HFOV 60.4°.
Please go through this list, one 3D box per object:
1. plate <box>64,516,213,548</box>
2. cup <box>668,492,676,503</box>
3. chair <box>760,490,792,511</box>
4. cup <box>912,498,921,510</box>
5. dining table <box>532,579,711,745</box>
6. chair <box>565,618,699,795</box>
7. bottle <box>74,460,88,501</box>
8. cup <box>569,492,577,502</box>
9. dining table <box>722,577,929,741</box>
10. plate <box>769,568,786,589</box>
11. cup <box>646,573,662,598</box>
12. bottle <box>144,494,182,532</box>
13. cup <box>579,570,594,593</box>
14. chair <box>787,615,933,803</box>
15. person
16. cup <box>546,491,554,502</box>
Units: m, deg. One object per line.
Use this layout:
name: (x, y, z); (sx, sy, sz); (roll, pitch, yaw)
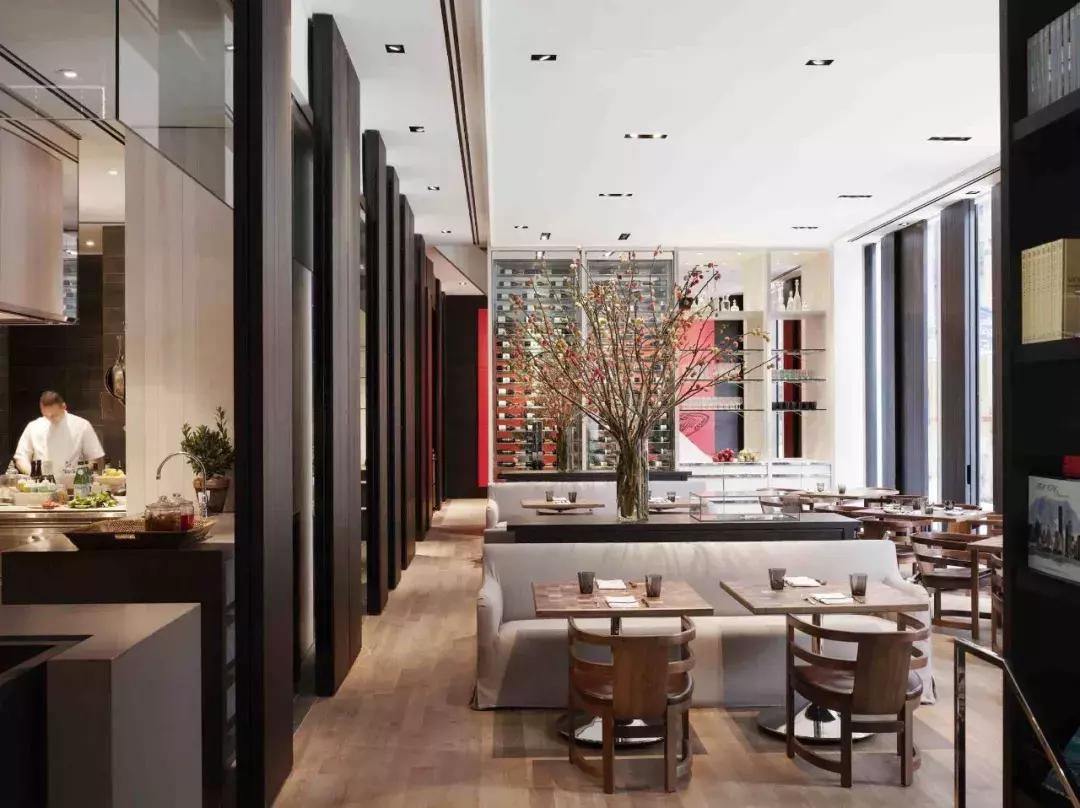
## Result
plate: (-1.909, 0.615, 4.405); (0.609, 0.102, 0.333); (0, 3, 4)
cup: (1.186, 0.846, 8.349); (0.050, 0.101, 0.052); (1, 7, 0)
chair: (2.313, 0.941, 9.095); (0.345, 0.239, 0.329); (0, 0, -4)
cup: (3.427, 0.903, 8.435); (0.092, 0.095, 0.080); (-1, 3, -27)
dining table: (0.451, 1.344, 5.128); (0.734, 0.489, 0.766); (0, -2, -3)
chair: (0.455, 1.494, 4.892); (0.681, 0.926, 0.760); (0, 3, 0)
bottle: (-2.973, 0.504, 6.004); (0.109, 0.198, 0.355); (-2, 4, -26)
cup: (0.284, 0.814, 8.133); (0.065, 0.097, 0.067); (0, 5, 0)
dining table: (1.553, 1.413, 5.315); (1.131, 0.782, 1.189); (0, 0, -15)
plate: (1.329, 0.968, 5.176); (0.090, 0.112, 0.094); (1, 0, 13)
cup: (0.619, 0.994, 5.081); (0.098, 0.114, 0.100); (-1, -3, 0)
bottle: (-1.776, 0.506, 4.417); (0.160, 0.188, 0.166); (2, -1, -7)
cup: (0.254, 0.994, 5.177); (0.092, 0.106, 0.096); (1, -2, 0)
chair: (1.587, 1.515, 4.895); (0.767, 1.049, 0.740); (1, 0, -4)
person: (-3.740, 0.252, 7.241); (0.591, 1.076, 0.369); (-1, -1, -17)
cup: (0.088, 0.828, 8.364); (0.066, 0.100, 0.078); (-1, 0, -4)
